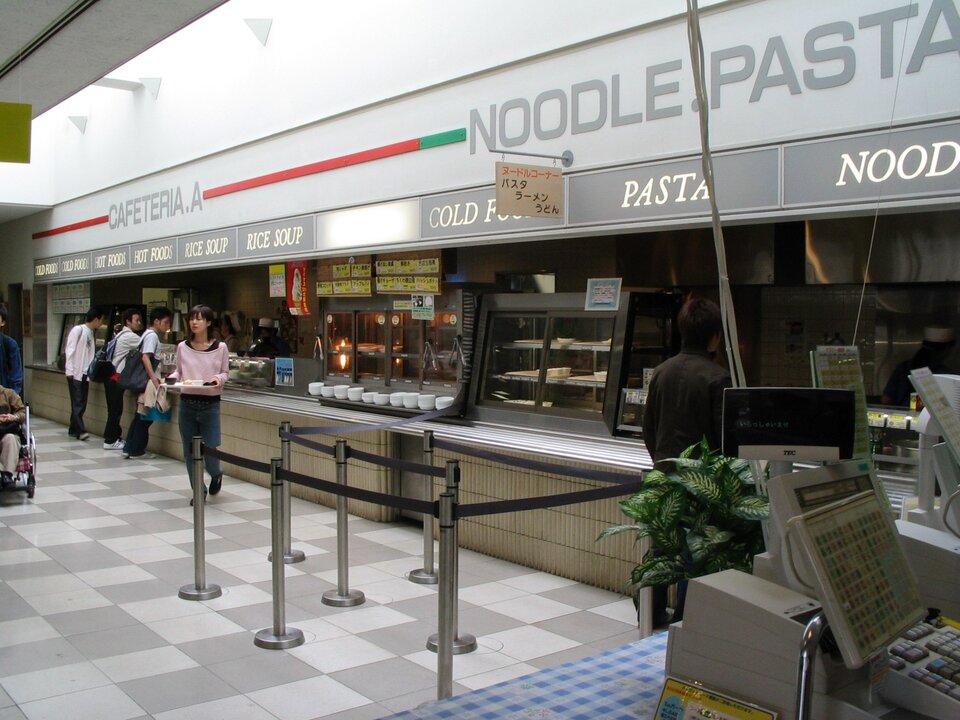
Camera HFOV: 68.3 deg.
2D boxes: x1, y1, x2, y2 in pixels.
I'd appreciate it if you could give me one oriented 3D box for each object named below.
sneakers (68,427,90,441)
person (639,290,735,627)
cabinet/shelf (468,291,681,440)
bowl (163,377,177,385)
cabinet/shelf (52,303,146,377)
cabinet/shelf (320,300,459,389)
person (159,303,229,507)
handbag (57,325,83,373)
[{"bbox_3d":[-6.276,1.175,11.177,0.484,0.201,0.165,2,2,44],"label":"sneakers"},{"bbox_3d":[1.145,0.132,3.972,0.442,0.939,0.864,1,2,13],"label":"person"},{"bbox_3d":[0.724,0.050,6.089,0.603,1.086,1.813,10,-3,-37],"label":"cabinet/shelf"},{"bbox_3d":[-3.642,0.256,8.367,0.132,0.094,0.121,0,4,0],"label":"bowl"},{"bbox_3d":[-6.202,-0.352,11.633,1.450,1.291,0.509,-2,-4,43],"label":"cabinet/shelf"},{"bbox_3d":[-0.897,-0.109,7.709,2.149,0.882,0.324,1,-9,44],"label":"cabinet/shelf"},{"bbox_3d":[-2.742,0.458,6.995,0.476,1.990,1.410,0,2,-23],"label":"person"},{"bbox_3d":[-7.097,-0.180,12.318,0.467,0.793,0.849,6,-9,-38],"label":"handbag"}]
